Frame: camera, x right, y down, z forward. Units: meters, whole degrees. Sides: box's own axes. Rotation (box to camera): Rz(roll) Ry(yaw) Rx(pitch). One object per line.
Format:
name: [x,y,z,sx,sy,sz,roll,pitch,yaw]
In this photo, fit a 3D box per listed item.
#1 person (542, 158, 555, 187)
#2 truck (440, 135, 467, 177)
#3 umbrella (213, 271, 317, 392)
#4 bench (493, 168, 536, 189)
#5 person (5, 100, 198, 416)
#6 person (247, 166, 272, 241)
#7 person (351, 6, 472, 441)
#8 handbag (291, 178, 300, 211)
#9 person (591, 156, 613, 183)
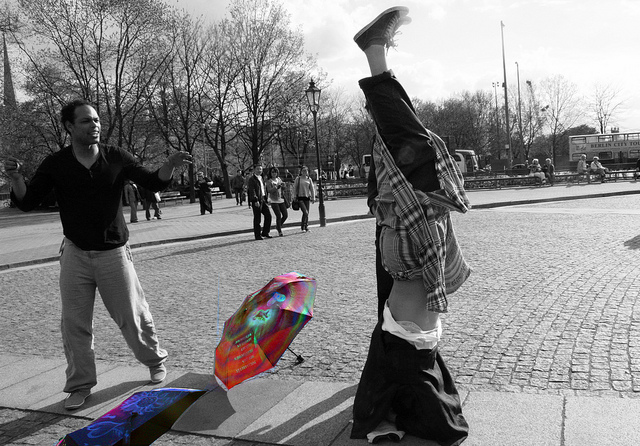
person: [14.425,-3.218,31.397,0.681,1.595,1.657,-3,6,26]
truck: [10.414,-5.090,40.080,1.828,3.465,1.875,2,-9,-34]
umbrella: [-0.460,0.879,4.269,0.980,0.758,0.242,-9,6,-34]
bench: [13.967,-3.309,35.944,2.234,0.881,10.410,-4,6,22]
person: [-2.014,0.218,4.500,1.277,2.066,0.566,-7,5,-23]
person: [-1.784,-0.609,14.540,0.583,2.104,1.303,-6,5,-6]
person: [0.577,0.043,3.441,0.873,2.989,0.461,-4,5,16]
handbag: [-0.722,-0.692,15.260,0.192,0.600,0.336,5,13,-4]
person: [17.478,-3.325,30.989,0.853,1.511,2.147,-3,6,29]
